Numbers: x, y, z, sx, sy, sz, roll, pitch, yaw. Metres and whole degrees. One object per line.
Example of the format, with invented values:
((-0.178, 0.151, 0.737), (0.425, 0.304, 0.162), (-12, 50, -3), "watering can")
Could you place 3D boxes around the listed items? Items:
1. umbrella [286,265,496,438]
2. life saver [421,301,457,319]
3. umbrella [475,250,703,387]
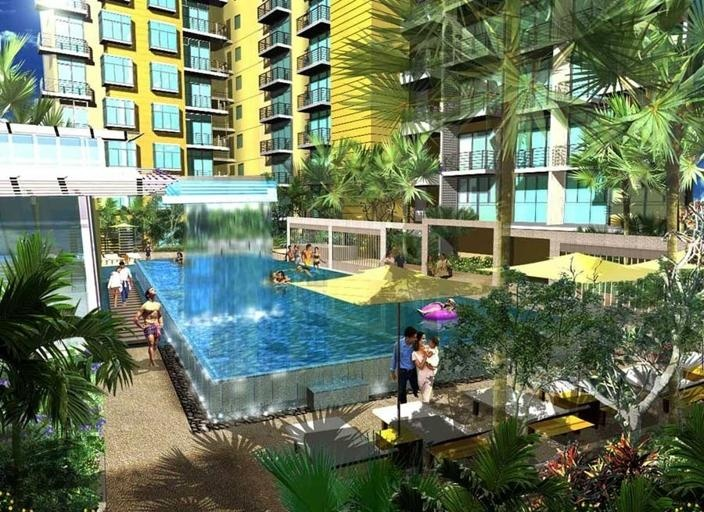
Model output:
((1.097, 1.687, 11.885), (3.217, 2.807, 3.312), (5, 9, 44), "umbrella")
((2.615, 1.644, 15.839), (0.687, 0.284, 0.676), (-3, 2, 2), "life saver")
((4.331, 1.569, 11.158), (3.377, 1.914, 2.874), (0, 13, -8), "umbrella")
